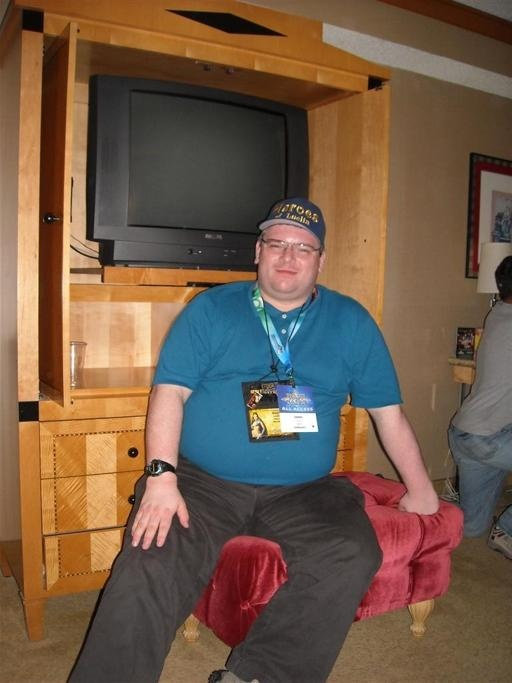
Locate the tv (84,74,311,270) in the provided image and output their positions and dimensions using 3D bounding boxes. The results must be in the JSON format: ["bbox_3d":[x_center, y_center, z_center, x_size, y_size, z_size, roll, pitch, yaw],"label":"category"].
[{"bbox_3d":[-0.294,-0.671,2.443,0.961,0.690,0.501,-7,18,-32],"label":"tv"}]

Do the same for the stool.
[{"bbox_3d":[0.199,0.626,1.804,0.729,0.390,0.544,-6,10,-31],"label":"stool"}]

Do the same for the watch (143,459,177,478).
[{"bbox_3d":[-0.241,0.318,1.450,0.081,0.052,0.078,2,4,0],"label":"watch"}]
